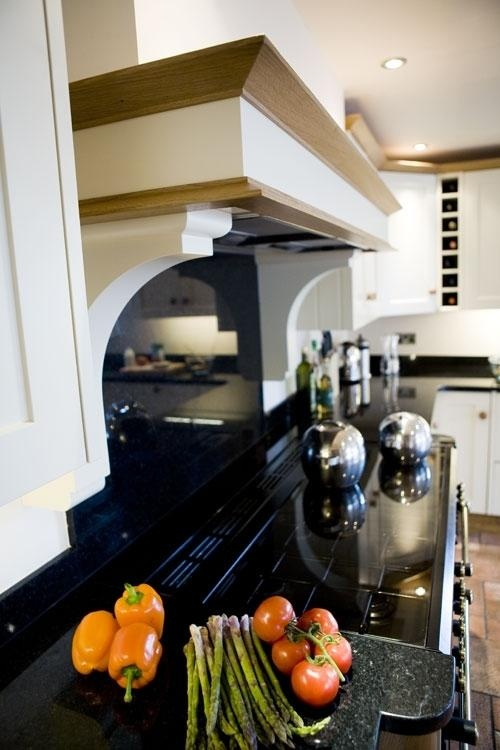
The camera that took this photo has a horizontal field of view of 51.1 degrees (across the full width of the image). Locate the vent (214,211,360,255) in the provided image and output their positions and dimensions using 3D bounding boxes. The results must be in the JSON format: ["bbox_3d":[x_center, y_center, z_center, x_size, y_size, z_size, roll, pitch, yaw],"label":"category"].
[{"bbox_3d":[0.046,-0.337,1.315,0.400,0.071,0.872,3,14,14],"label":"vent"}]
